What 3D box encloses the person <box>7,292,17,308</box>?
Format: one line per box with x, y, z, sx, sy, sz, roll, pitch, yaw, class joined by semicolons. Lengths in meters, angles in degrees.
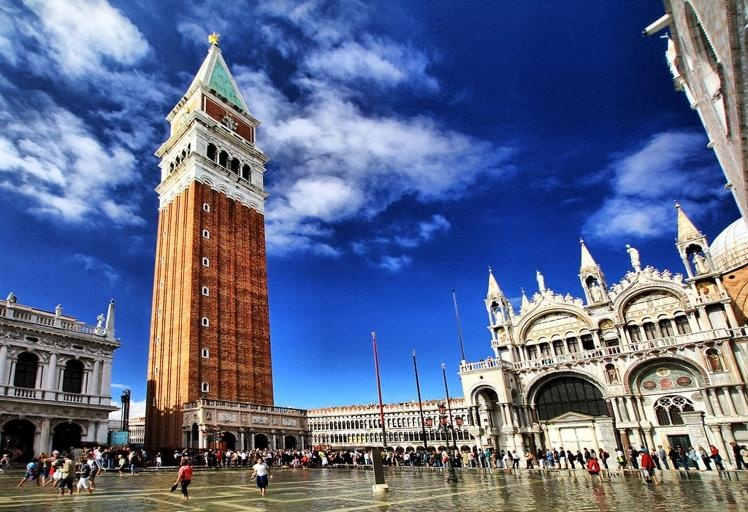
-32.387;4.052;40.612;0.586;1.064;1.392;17;-32;-33;person

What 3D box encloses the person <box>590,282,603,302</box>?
23.026;3.844;47.217;1.094;2.047;0.588;-20;-33;30;person

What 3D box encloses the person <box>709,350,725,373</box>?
29.451;9.050;39.469;1.003;1.796;0.443;-17;-32;26;person
